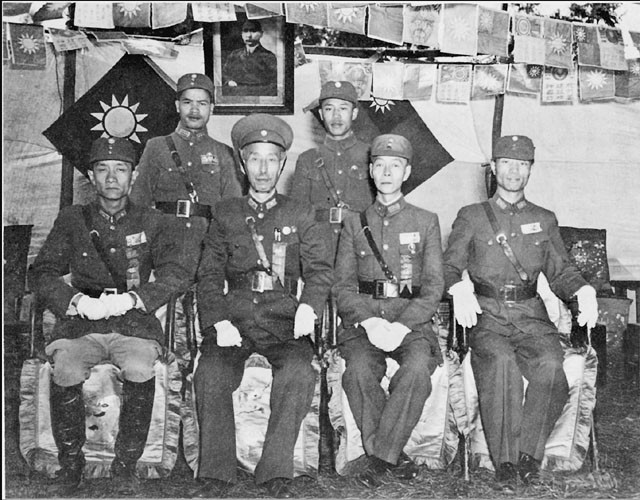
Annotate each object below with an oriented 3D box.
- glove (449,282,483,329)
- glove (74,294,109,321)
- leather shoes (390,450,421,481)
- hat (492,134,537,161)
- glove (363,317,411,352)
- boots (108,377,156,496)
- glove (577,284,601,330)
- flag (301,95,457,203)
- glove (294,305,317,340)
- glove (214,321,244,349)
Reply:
[{"bbox_3d":[1.044,0.378,5.106,0.214,0.342,0.094,-11,1,2],"label":"glove"},{"bbox_3d":[-1.625,0.414,4.989,0.194,0.157,0.073,9,19,7],"label":"glove"},{"bbox_3d":[0.595,1.501,4.910,0.149,0.202,0.068,-9,2,1],"label":"leather shoes"},{"bbox_3d":[1.507,-0.787,5.452,0.304,0.155,0.433,3,18,10],"label":"hat"},{"bbox_3d":[0.449,0.569,4.856,0.219,0.099,0.276,-26,35,-37],"label":"glove"},{"bbox_3d":[-1.278,1.262,4.804,0.281,0.756,0.120,1,6,-17],"label":"boots"},{"bbox_3d":[1.911,0.408,5.000,0.170,0.288,0.078,-3,-4,10],"label":"glove"},{"bbox_3d":[0.472,-0.939,6.207,1.108,1.083,0.057,-1,7,-6],"label":"flag"},{"bbox_3d":[-0.102,0.503,4.899,0.166,0.208,0.075,7,-9,2],"label":"glove"},{"bbox_3d":[-0.634,0.577,4.874,0.199,0.182,0.153,2,6,-9],"label":"glove"}]
